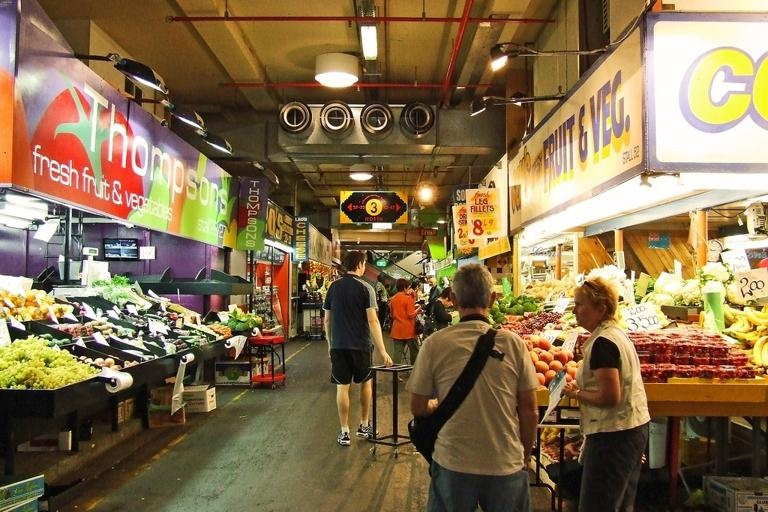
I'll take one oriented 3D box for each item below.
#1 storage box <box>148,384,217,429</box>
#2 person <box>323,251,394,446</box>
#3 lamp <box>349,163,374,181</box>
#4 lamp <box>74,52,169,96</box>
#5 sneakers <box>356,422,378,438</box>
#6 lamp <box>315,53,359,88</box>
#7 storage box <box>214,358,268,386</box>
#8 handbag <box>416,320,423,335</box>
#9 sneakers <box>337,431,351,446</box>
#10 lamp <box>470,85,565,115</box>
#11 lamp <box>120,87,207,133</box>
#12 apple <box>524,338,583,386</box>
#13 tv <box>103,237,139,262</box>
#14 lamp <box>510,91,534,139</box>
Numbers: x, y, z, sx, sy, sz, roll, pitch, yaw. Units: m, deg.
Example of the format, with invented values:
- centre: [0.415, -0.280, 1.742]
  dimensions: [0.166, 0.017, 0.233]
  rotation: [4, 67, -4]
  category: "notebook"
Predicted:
- centre: [-2.896, 2.140, 8.466]
  dimensions: [0.578, 0.228, 0.575]
  rotation: [0, 10, -7]
  category: "storage box"
- centre: [-0.378, 1.153, 7.484]
  dimensions: [0.732, 2.415, 0.500]
  rotation: [-1, 4, -6]
  category: "person"
- centre: [-0.650, -2.307, 16.500]
  dimensions: [0.775, 0.306, 0.757]
  rotation: [3, -6, -42]
  category: "lamp"
- centre: [-3.162, -2.326, 7.405]
  dimensions: [0.737, 0.512, 0.971]
  rotation: [0, 4, -5]
  category: "lamp"
- centre: [-0.212, 2.246, 7.636]
  dimensions: [0.128, 0.186, 0.363]
  rotation: [-1, -7, 22]
  category: "sneakers"
- centre: [-0.799, -3.202, 10.226]
  dimensions: [0.715, 0.345, 0.714]
  rotation: [0, -2, -8]
  category: "lamp"
- centre: [-2.583, 2.061, 10.465]
  dimensions: [0.779, 0.404, 0.473]
  rotation: [-1, 4, -14]
  category: "storage box"
- centre: [0.848, 1.603, 13.227]
  dimensions: [0.177, 0.368, 0.273]
  rotation: [1, -8, 20]
  category: "handbag"
- centre: [-0.503, 2.293, 7.404]
  dimensions: [0.093, 0.107, 0.235]
  rotation: [3, 0, -2]
  category: "sneakers"
- centre: [2.281, -2.606, 9.746]
  dimensions: [1.659, 0.352, 0.655]
  rotation: [-3, 2, -8]
  category: "lamp"
- centre: [-3.180, -2.095, 8.785]
  dimensions: [1.052, 0.357, 0.272]
  rotation: [24, 15, -16]
  category: "lamp"
- centre: [1.622, 1.005, 5.775]
  dimensions: [0.470, 0.178, 0.412]
  rotation: [29, 37, 1]
  category: "apple"
- centre: [-4.560, -0.092, 10.306]
  dimensions: [0.649, 0.378, 0.301]
  rotation: [-1, 4, -9]
  category: "tv"
- centre: [2.527, -2.501, 10.753]
  dimensions: [0.331, 0.931, 0.203]
  rotation: [-11, 2, -4]
  category: "lamp"
